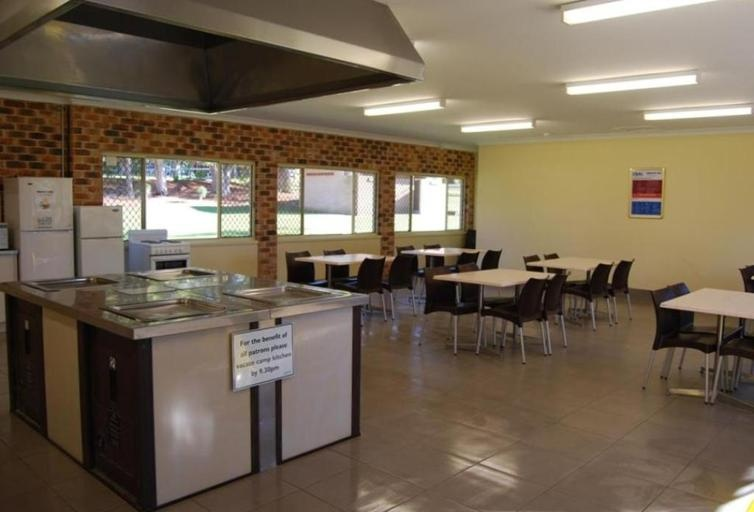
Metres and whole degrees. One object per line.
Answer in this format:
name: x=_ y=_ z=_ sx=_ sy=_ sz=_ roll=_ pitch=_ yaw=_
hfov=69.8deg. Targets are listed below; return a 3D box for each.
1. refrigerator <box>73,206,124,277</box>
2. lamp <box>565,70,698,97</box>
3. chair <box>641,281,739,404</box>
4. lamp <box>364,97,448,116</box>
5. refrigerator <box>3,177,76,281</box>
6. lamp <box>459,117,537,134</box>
refrigerator: x=-3.622 y=-0.128 z=7.423 sx=0.736 sy=1.025 sz=0.726 roll=-3 pitch=0 yaw=-20
lamp: x=2.976 y=-2.034 z=6.363 sx=1.385 sy=0.142 sz=0.327 roll=7 pitch=11 yaw=30
chair: x=3.296 y=0.950 z=5.667 sx=0.603 sy=0.847 sz=1.094 roll=1 pitch=7 yaw=38
lamp: x=0.379 y=-2.194 z=7.945 sx=1.376 sy=0.153 sz=0.326 roll=8 pitch=12 yaw=34
refrigerator: x=-4.188 y=-0.354 z=6.807 sx=0.655 sy=1.255 sz=0.231 roll=-5 pitch=12 yaw=-29
lamp: x=2.162 y=-2.324 z=9.607 sx=1.376 sy=0.153 sz=0.572 roll=8 pitch=12 yaw=35
